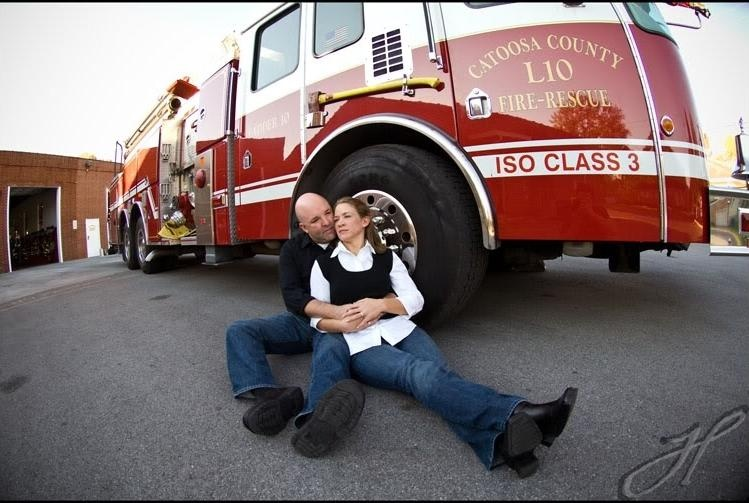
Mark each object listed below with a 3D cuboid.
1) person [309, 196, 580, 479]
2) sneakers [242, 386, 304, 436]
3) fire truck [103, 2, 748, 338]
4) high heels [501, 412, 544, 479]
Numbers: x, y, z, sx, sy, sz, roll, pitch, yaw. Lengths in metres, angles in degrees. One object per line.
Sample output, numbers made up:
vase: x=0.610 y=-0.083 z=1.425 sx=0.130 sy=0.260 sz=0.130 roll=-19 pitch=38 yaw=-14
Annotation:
person: x=0.263 y=0.425 z=2.562 sx=0.737 sy=1.112 sz=1.902 roll=-18 pitch=29 yaw=-34
sneakers: x=-0.608 y=0.950 z=2.530 sx=0.421 sy=0.177 sz=0.203 roll=-11 pitch=12 yaw=-38
fire truck: x=-1.151 y=-1.083 z=6.081 sx=9.221 sy=2.712 sz=2.919 roll=0 pitch=2 yaw=44
high heels: x=0.777 y=0.993 z=2.146 sx=0.220 sy=0.348 sz=0.138 roll=-5 pitch=5 yaw=-10
